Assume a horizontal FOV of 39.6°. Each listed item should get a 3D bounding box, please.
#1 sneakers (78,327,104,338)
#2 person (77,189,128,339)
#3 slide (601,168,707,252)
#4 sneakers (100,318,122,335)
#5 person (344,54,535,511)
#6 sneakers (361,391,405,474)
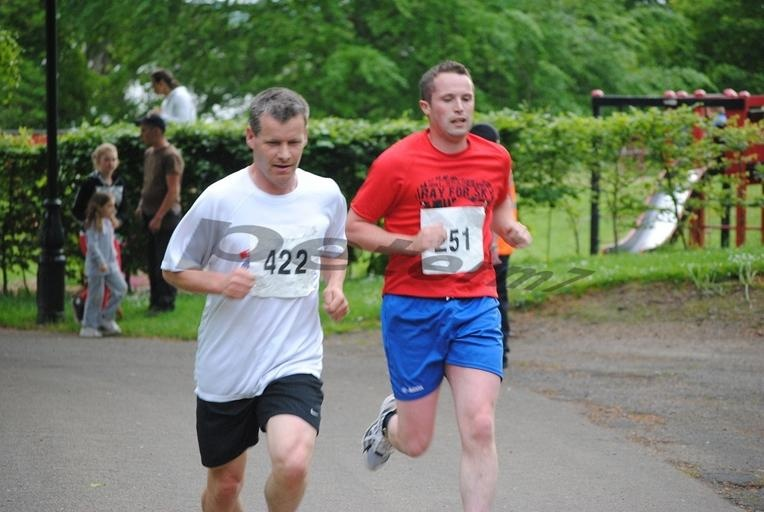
[{"bbox_3d":[-3.108,0.815,11.374,0.254,0.172,0.094,1,4,-17],"label":"sneakers"},{"bbox_3d":[-3.069,0.069,11.655,0.401,1.564,0.607,0,1,-12],"label":"person"},{"bbox_3d":[3.044,-0.406,11.694,1.484,0.628,0.434,-36,37,-17],"label":"slide"},{"bbox_3d":[-2.895,0.779,11.463,0.114,0.097,0.224,1,-7,-37],"label":"sneakers"},{"bbox_3d":[0.464,0.187,8.357,1.256,3.457,0.708,1,1,9],"label":"person"},{"bbox_3d":[-0.037,1.448,8.743,0.223,0.656,0.300,8,25,-17],"label":"sneakers"}]
